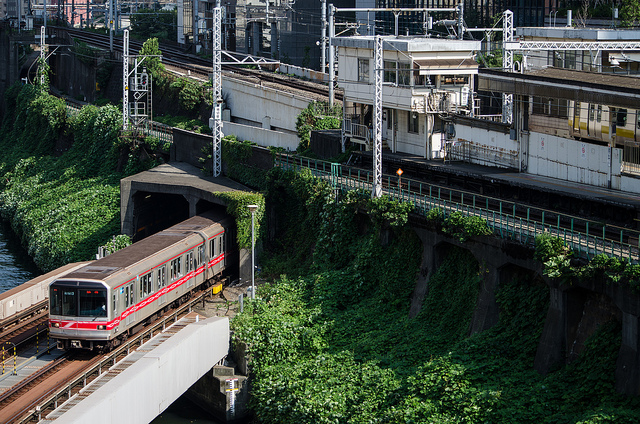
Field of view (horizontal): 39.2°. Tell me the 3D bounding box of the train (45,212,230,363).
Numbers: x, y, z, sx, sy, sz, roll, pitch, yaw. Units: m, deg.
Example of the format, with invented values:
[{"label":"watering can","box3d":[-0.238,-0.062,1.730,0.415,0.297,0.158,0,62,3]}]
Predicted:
[{"label":"train","box3d":[-9.108,3.643,48.954,2.727,3.999,14.030,3,13,21]}]
